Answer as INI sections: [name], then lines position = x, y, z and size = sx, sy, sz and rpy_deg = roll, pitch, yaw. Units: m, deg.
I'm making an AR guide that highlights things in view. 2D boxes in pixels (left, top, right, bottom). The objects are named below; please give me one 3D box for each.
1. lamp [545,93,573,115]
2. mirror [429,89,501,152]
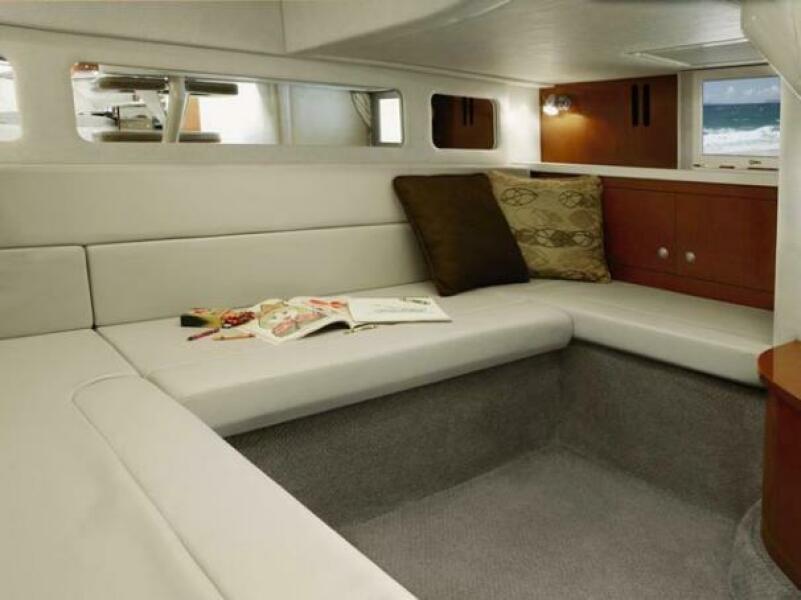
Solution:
[lamp]
position = 0.993, -1.249, 3.333
size = 0.179, 0.140, 0.039
rpy_deg = 6, 16, 29
[mirror]
position = 0.388, -1.086, 3.195
size = 0.032, 0.352, 0.574
rpy_deg = -23, 32, -34
